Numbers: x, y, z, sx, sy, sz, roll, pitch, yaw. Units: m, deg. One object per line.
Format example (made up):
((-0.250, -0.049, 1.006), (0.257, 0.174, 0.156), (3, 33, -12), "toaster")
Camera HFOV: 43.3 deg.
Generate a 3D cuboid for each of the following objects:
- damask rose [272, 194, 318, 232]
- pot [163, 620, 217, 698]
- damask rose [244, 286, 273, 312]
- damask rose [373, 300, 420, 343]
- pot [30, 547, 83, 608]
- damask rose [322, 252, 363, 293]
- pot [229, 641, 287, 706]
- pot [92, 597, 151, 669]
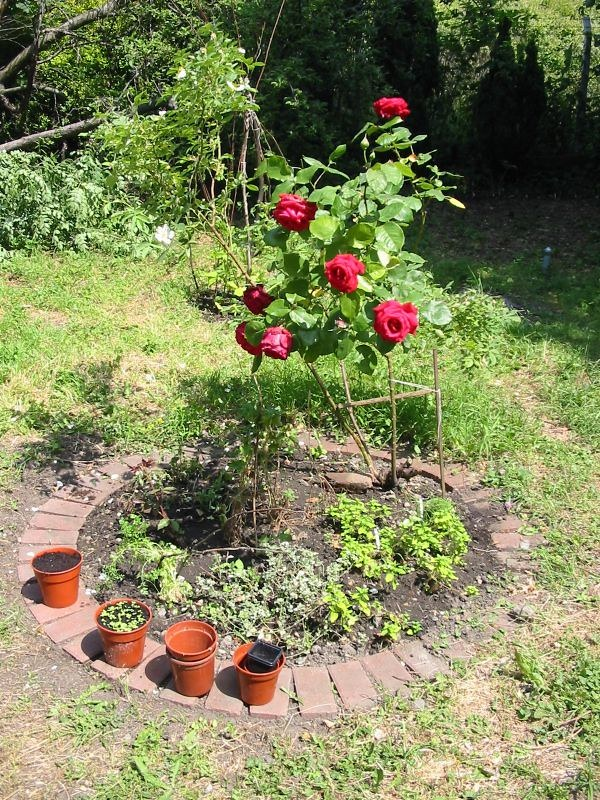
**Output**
((-0.016, -0.612, 2.521), (0.135, 0.126, 0.085), (-40, 17, 2), "damask rose")
((-0.368, 0.900, 2.603), (0.194, 0.181, 0.197), (-2, 19, 1), "pot")
((-0.150, -0.348, 2.674), (0.108, 0.091, 0.061), (-1, 32, -1), "damask rose")
((0.317, -0.260, 2.535), (0.144, 0.149, 0.200), (2, 13, 4), "damask rose")
((-0.944, 0.706, 2.938), (0.179, 0.206, 0.205), (-3, 14, -17), "pot")
((0.147, -0.404, 2.435), (0.114, 0.128, 0.191), (3, 13, 9), "damask rose")
((-0.144, 0.957, 2.558), (0.162, 0.115, 0.147), (2, 0, 0), "pot")
((-0.633, 0.848, 2.714), (0.223, 0.154, 0.200), (-3, 17, -19), "pot")
